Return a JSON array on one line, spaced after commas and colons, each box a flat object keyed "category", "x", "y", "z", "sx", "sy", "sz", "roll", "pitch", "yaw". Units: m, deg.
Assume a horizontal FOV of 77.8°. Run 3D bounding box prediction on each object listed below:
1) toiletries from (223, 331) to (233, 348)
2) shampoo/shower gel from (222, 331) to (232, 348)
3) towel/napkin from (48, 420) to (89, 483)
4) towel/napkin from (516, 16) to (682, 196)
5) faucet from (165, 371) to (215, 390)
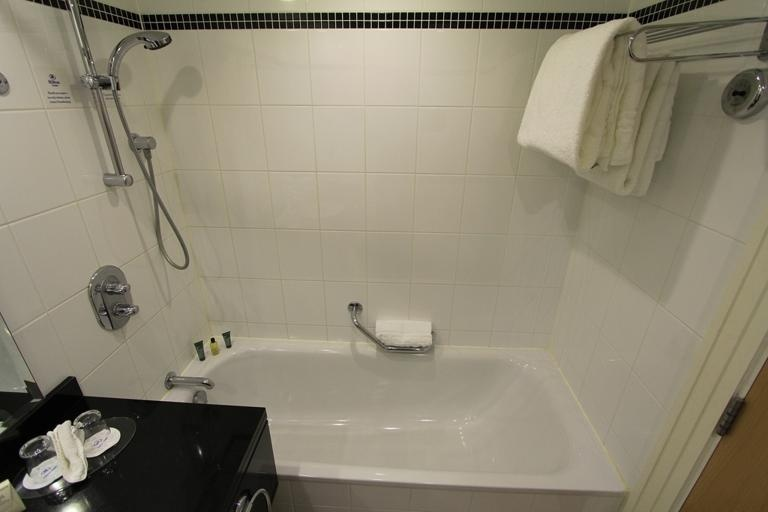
[{"category": "toiletries", "x": -0.929, "y": 0.499, "z": 2.827, "sx": 0.064, "sy": 0.116, "sz": 0.034, "roll": -12, "pitch": 21, "yaw": -28}, {"category": "shampoo/shower gel", "x": -0.933, "y": 0.502, "z": 2.829, "sx": 0.065, "sy": 0.116, "sz": 0.034, "roll": -13, "pitch": 22, "yaw": -29}, {"category": "towel/napkin", "x": -1.193, "y": 0.756, "z": 1.815, "sx": 0.220, "sy": 0.055, "sz": 0.127, "roll": 42, "pitch": 23, "yaw": 22}, {"category": "towel/napkin", "x": 0.882, "y": -0.570, "z": 1.991, "sx": 0.255, "sy": 0.666, "sz": 0.652, "roll": -4, "pitch": 29, "yaw": -27}, {"category": "faucet", "x": -1.028, "y": 0.668, "z": 2.541, "sx": 0.219, "sy": 0.116, "sz": 0.101, "roll": 3, "pitch": 1, "yaw": 4}]
